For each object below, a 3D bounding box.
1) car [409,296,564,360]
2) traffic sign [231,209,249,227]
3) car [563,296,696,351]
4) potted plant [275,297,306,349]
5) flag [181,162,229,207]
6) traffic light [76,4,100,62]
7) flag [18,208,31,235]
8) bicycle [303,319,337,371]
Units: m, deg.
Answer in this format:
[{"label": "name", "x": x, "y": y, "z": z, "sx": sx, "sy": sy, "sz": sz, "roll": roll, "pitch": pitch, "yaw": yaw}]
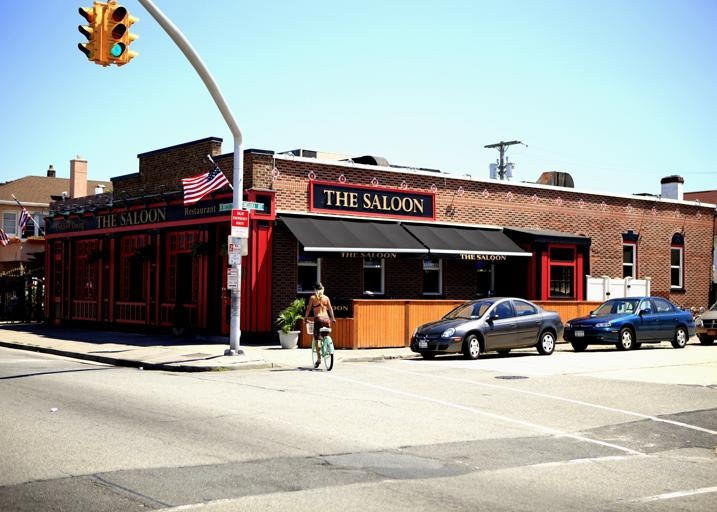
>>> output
[{"label": "car", "x": 3.915, "y": 2.342, "z": 25.204, "sx": 4.278, "sy": 1.605, "sz": 1.974, "roll": 4, "pitch": -10, "yaw": -34}, {"label": "traffic sign", "x": -3.395, "y": -1.097, "z": 23.310, "sx": 0.504, "sy": 0.378, "sz": 0.070, "roll": 1, "pitch": 1, "yaw": -41}, {"label": "car", "x": 9.385, "y": 2.410, "z": 27.995, "sx": 4.361, "sy": 1.494, "sz": 2.003, "roll": 5, "pitch": -9, "yaw": -37}, {"label": "potted plant", "x": -2.212, "y": 2.275, "z": 27.002, "sx": 0.806, "sy": 1.653, "sz": 1.027, "roll": 2, "pitch": -7, "yaw": -5}, {"label": "flag", "x": -4.990, "y": -2.101, "z": 27.352, "sx": 1.703, "sy": 1.294, "sz": 0.574, "roll": -37, "pitch": -42, "yaw": 10}, {"label": "traffic light", "x": -5.287, "y": -4.441, "z": 15.975, "sx": 0.404, "sy": 1.199, "sz": 0.692, "roll": 3, "pitch": -8, "yaw": -17}, {"label": "flag", "x": -19.634, "y": -1.964, "z": 47.789, "sx": 0.300, "sy": 1.462, "sz": 2.134, "roll": -13, "pitch": -42, "yaw": -35}, {"label": "bicycle", "x": -0.977, "y": 2.370, "z": 22.054, "sx": 0.861, "sy": 1.381, "sz": 2.302, "roll": 1, "pitch": -1, "yaw": -15}]
